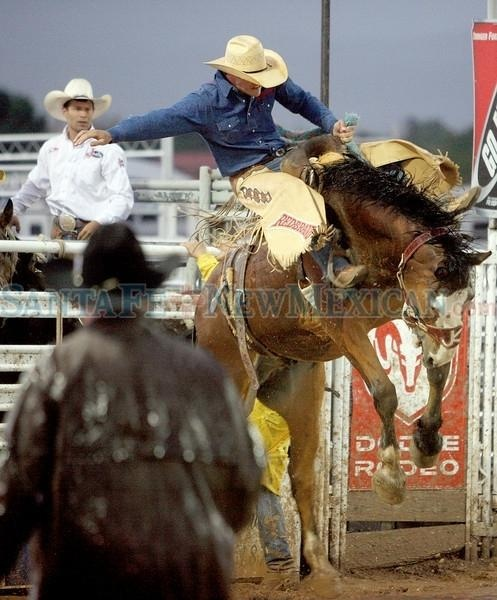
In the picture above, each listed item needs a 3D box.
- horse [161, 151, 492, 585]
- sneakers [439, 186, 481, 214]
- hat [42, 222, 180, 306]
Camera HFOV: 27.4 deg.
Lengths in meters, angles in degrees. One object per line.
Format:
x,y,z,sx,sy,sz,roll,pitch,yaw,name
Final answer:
0.454,0.273,4.537,0.574,1.387,2.156,-11,1,-29,horse
0.873,-0.397,4.177,0.139,0.115,0.205,2,-2,10,sneakers
-0.346,-0.106,2.852,0.373,0.141,0.380,-6,2,-1,hat
